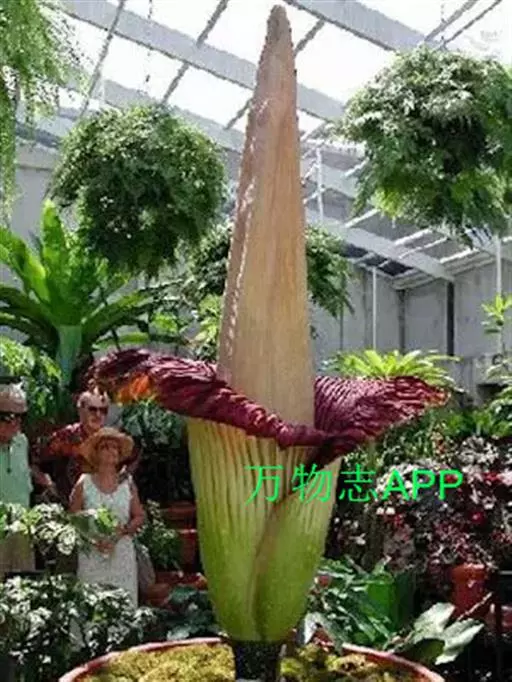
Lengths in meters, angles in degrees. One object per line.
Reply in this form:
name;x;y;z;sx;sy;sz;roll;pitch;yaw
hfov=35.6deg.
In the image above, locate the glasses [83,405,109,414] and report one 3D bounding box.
glasses;-0.587;0.268;3.025;0.046;0.030;0.111;-4;-9;29
